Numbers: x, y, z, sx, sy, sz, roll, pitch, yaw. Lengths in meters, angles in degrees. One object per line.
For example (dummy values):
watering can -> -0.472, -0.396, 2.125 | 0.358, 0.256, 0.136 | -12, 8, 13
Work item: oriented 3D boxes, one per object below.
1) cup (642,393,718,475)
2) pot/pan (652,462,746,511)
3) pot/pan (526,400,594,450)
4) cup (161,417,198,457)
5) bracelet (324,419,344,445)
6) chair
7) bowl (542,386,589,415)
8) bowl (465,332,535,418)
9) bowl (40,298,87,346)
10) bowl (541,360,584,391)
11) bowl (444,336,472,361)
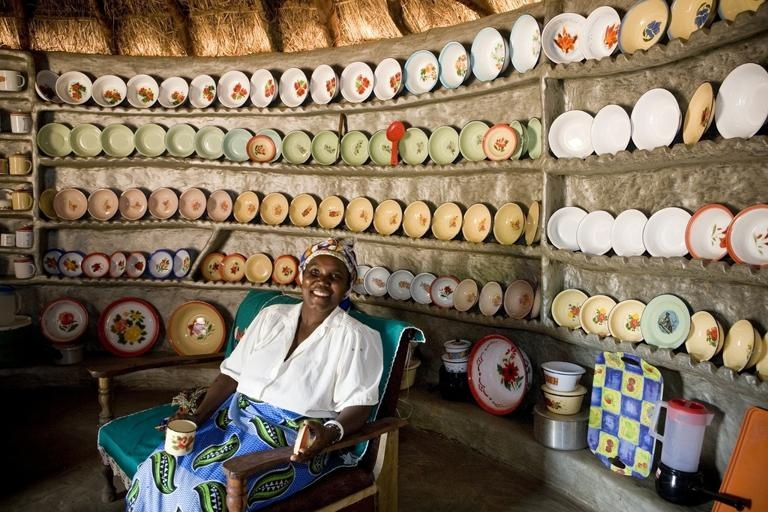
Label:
cup -> 1.822, 1.096, 3.365 | 0.419, 0.511, 0.299 | 1, 2, 18
pot/pan -> 1.862, 1.397, 3.206 | 0.180, 0.129, 0.328 | 3, -4, -31
pot/pan -> 1.269, 1.222, 3.817 | 0.312, 0.180, 0.252 | -1, 0, 6
cup -> -1.163, 1.024, 3.039 | 0.145, 0.151, 0.186 | 6, 0, -37
bracelet -> -0.279, 0.974, 2.988 | 0.099, 0.105, 0.036 | -8, 25, 47
chair -> -0.842, 0.985, 3.492 | 1.568, 1.158, 1.546 | -4, 7, -42
bowl -> 1.274, 1.032, 3.788 | 0.221, 0.126, 0.234 | 0, -11, 0
bowl -> 0.903, 0.910, 4.242 | 0.167, 0.603, 0.540 | 0, -1, -43
bowl -> -3.163, 0.630, 5.286 | 0.397, 0.433, 0.171 | 16, -2, -15
bowl -> 1.265, 0.835, 3.831 | 0.203, 0.105, 0.209 | 2, -4, 0
bowl -> 0.602, 0.748, 4.378 | 0.153, 0.115, 0.163 | 0, 12, 0
